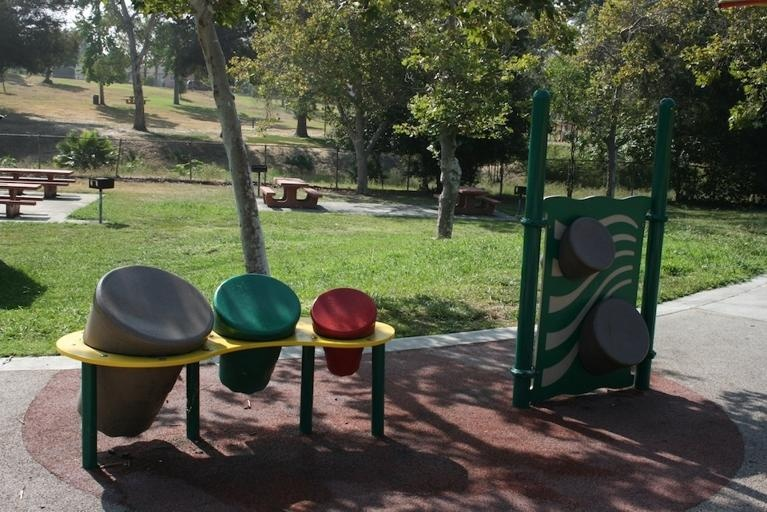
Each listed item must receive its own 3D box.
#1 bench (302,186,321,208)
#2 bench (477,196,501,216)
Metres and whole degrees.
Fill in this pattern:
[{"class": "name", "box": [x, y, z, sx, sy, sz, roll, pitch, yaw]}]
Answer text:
[{"class": "bench", "box": [-2.640, -2.052, 25.827, 0.816, 0.641, 0.706, 3, 8, 10]}, {"class": "bench", "box": [4.053, -1.939, 27.954, 0.642, 0.681, 2.173, 3, 7, 8]}]
